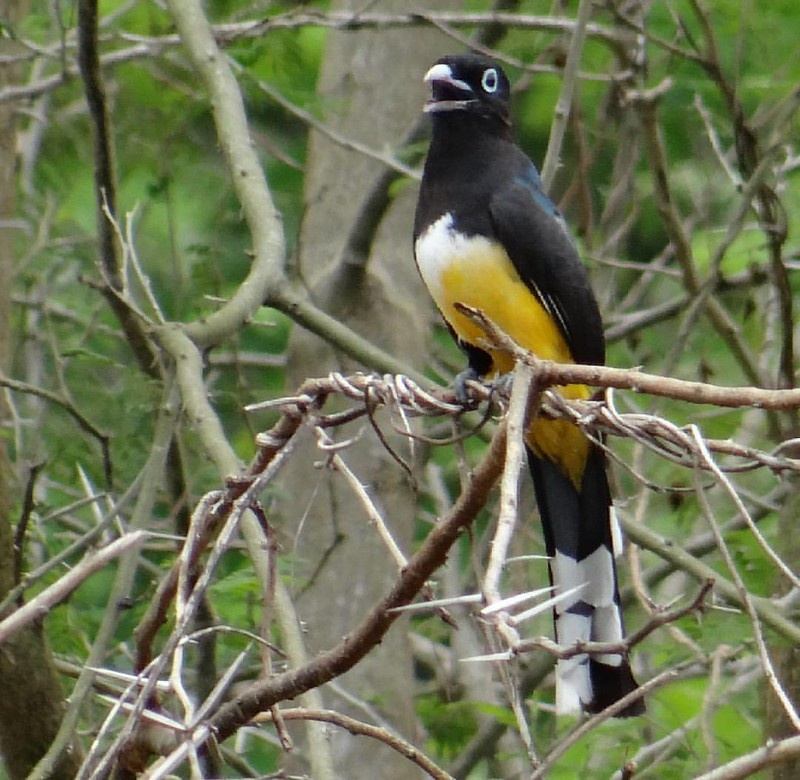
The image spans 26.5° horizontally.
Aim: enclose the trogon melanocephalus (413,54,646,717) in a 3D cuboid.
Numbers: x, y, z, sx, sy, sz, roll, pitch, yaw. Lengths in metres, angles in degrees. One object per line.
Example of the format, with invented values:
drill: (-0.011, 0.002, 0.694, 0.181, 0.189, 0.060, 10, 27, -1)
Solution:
trogon melanocephalus: (0.404, -0.102, 5.361, 0.535, 1.689, 1.700, -15, 25, 3)
